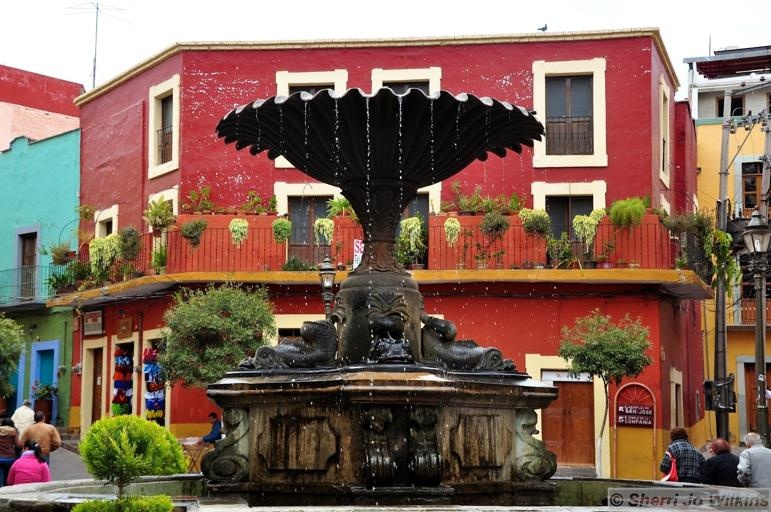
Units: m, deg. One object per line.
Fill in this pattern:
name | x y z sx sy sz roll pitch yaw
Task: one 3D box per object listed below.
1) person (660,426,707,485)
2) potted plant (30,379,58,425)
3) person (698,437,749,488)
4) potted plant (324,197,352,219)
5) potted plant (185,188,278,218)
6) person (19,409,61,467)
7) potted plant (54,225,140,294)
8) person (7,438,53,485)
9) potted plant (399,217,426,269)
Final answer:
person | 7.554 5.176 39.521 0.919 1.453 0.881 -10 3 11
potted plant | -12.511 5.321 56.299 0.770 1.310 0.814 -2 -10 2
person | 8.643 5.720 39.435 0.989 2.020 1.063 -7 -1 5
potted plant | -1.609 -1.511 51.194 0.764 0.558 0.744 -5 -13 36
potted plant | -5.321 -1.643 51.947 1.873 0.600 1.452 0 -2 -11
person | -9.540 4.946 43.015 0.997 1.697 0.977 4 -14 -35
potted plant | -9.946 0.348 53.816 2.283 3.140 1.958 3 -3 -27
person | -9.222 5.283 39.831 1.009 1.064 0.687 2 -10 -16
potted plant | 0.832 -0.376 50.428 0.940 1.657 0.621 -1 -9 0
